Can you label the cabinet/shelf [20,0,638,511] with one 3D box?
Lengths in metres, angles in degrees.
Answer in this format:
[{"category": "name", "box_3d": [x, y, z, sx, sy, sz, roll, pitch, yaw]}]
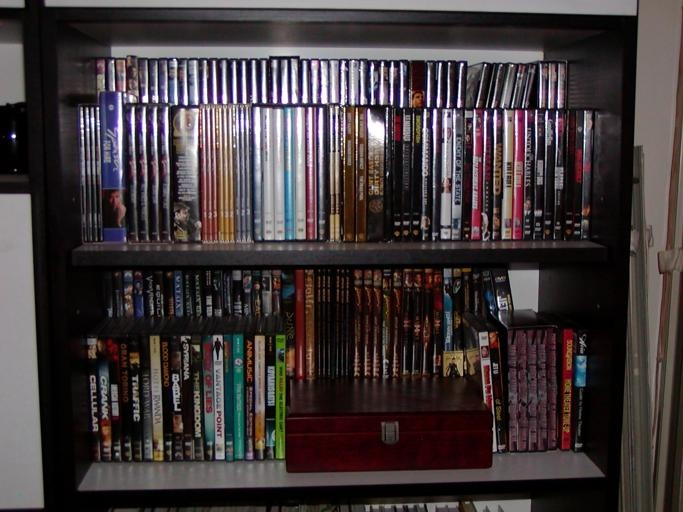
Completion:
[{"category": "cabinet/shelf", "box_3d": [-0.047, -0.008, 1.827, 1.165, 1.169, 0.414, 0, 9, -4]}]
